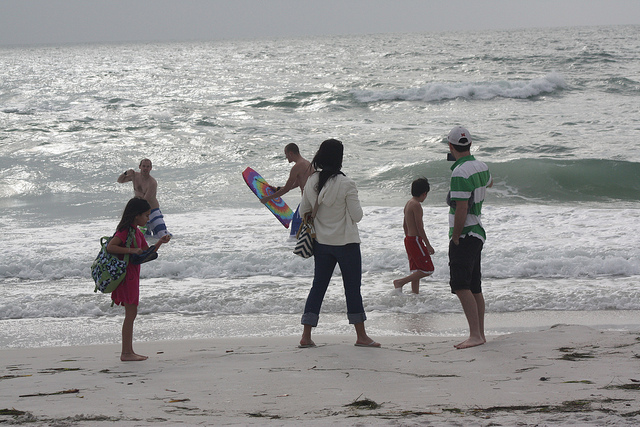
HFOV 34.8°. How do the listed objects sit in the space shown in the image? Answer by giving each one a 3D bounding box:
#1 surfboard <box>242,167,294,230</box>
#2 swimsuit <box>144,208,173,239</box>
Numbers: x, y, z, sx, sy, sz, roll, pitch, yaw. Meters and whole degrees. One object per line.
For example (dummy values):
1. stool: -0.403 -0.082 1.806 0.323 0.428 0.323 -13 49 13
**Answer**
1. surfboard: -1.381 -0.419 31.611 0.643 2.470 0.352 -42 -5 24
2. swimsuit: -4.862 0.067 31.769 0.382 0.883 1.058 -25 -26 0
